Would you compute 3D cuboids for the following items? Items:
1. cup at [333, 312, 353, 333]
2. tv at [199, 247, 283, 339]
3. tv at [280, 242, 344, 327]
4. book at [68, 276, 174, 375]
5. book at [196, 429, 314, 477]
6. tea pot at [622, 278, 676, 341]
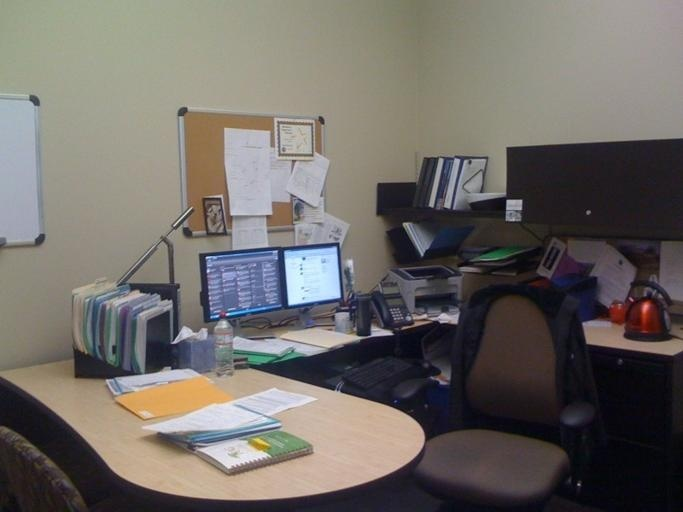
[{"bbox_3d":[0.009,0.387,3.081,0.119,0.123,0.075,0,2,13],"label":"cup"},{"bbox_3d":[-0.557,0.185,2.915,0.469,0.472,0.162,-5,3,-35],"label":"tv"},{"bbox_3d":[-0.185,0.166,3.216,0.482,0.506,0.190,-4,2,-38],"label":"tv"},{"bbox_3d":[-0.964,0.307,2.552,0.422,0.480,0.365,1,2,19],"label":"book"},{"bbox_3d":[-0.279,0.622,1.713,0.184,0.031,0.147,-4,6,-41],"label":"book"},{"bbox_3d":[1.607,0.253,2.813,0.221,0.261,0.503,4,11,30],"label":"tea pot"}]
